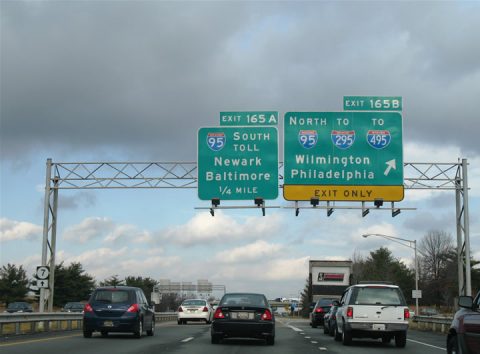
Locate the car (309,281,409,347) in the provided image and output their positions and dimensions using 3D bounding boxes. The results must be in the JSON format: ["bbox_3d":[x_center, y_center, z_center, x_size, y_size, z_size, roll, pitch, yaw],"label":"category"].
[{"bbox_3d":[6.361,6.681,42.076,2.890,3.088,3.005,1,-9,-8],"label":"car"}]
